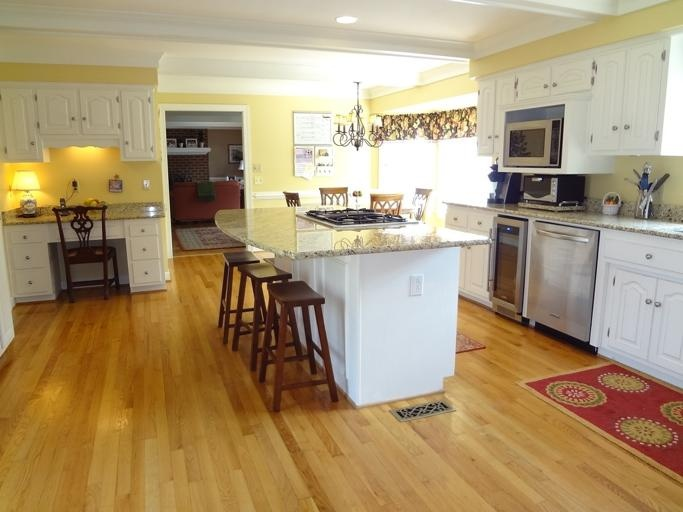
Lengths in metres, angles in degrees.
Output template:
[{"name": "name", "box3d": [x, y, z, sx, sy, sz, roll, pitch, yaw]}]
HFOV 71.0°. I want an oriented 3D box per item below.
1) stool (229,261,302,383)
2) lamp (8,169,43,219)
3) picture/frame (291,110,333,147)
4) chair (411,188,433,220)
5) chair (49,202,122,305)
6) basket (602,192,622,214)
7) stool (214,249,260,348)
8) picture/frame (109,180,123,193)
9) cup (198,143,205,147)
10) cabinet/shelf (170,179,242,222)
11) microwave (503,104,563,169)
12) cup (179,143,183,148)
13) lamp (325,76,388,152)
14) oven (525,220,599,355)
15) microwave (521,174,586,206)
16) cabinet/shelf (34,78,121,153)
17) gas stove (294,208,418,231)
[{"name": "stool", "box3d": [-0.608, 0.555, 3.886, 0.516, 0.913, 0.615, -8, 23, -28]}, {"name": "lamp", "box3d": [-3.656, -0.732, 5.578, 0.306, 0.532, 0.452, -10, 14, -33]}, {"name": "picture/frame", "box3d": [-0.535, -2.213, 8.230, 0.584, 0.808, 0.028, -6, 9, -10]}, {"name": "chair", "box3d": [1.222, -0.786, 7.261, 0.263, 0.461, 0.927, 0, 12, 8]}, {"name": "chair", "box3d": [-2.951, -0.074, 5.626, 0.567, 1.081, 0.750, -7, 13, -25]}, {"name": "basket", "box3d": [2.484, -0.482, 4.413, 0.154, 0.195, 0.246, 5, 14, 29]}, {"name": "stool", "box3d": [-0.942, 0.481, 4.606, 0.522, 0.739, 0.499, 9, 5, -25]}, {"name": "picture/frame", "box3d": [-2.806, -0.873, 5.953, 0.152, 0.155, 0.021, -3, 17, -12]}, {"name": "cup", "box3d": [-4.183, -3.330, 14.334, 0.177, 0.160, 0.176, -2, 5, 0]}, {"name": "cabinet/shelf", "box3d": [-3.295, -1.346, 11.597, 1.580, 0.867, 0.338, -5, 13, -17]}, {"name": "microwave", "box3d": [1.907, -1.176, 4.751, 0.395, 0.582, 0.680, -4, 13, -19]}, {"name": "cup", "box3d": [-4.741, -3.294, 14.225, 0.155, 0.121, 0.154, 0, 5, 0]}, {"name": "lamp", "box3d": [0.224, -2.388, 7.941, 1.000, 1.298, 0.994, 15, 19, 42]}, {"name": "oven", "box3d": [2.229, 0.222, 4.498, 0.739, 1.061, 0.659, -12, 17, -33]}, {"name": "microwave", "box3d": [2.131, -0.671, 4.790, 0.355, 0.306, 0.468, -1, 11, -12]}, {"name": "cabinet/shelf", "box3d": [-3.066, -1.667, 5.533, 0.851, 0.720, 0.327, -2, 6, -18]}, {"name": "gas stove", "box3d": [0.159, -0.324, 4.139, 0.763, 0.072, 0.943, -6, 13, -23]}]
